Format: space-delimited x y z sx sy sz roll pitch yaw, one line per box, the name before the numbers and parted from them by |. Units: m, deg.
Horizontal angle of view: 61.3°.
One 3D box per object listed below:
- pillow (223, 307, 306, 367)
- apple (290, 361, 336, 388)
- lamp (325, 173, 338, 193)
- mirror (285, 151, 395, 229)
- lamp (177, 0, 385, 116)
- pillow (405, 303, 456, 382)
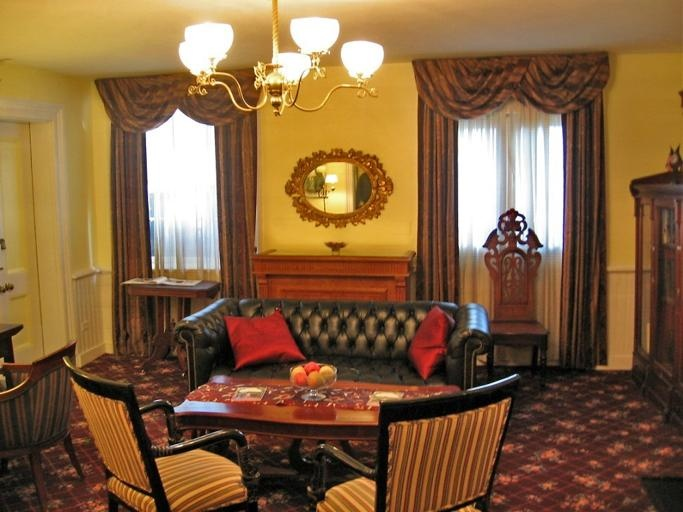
pillow | -0.661 0.712 5.015 0.504 0.156 0.511 -3 36 -27
apple | -0.198 0.832 4.026 0.219 0.078 0.217 -1 1 -11
lamp | -0.108 -0.827 6.476 0.167 0.189 0.161 2 8 26
mirror | 0.038 -0.762 6.447 0.917 0.676 0.044 1 1 2
lamp | -0.446 -1.637 4.727 1.119 0.844 1.026 8 14 33
pillow | 0.785 0.707 4.935 0.456 0.687 0.825 -2 17 7
